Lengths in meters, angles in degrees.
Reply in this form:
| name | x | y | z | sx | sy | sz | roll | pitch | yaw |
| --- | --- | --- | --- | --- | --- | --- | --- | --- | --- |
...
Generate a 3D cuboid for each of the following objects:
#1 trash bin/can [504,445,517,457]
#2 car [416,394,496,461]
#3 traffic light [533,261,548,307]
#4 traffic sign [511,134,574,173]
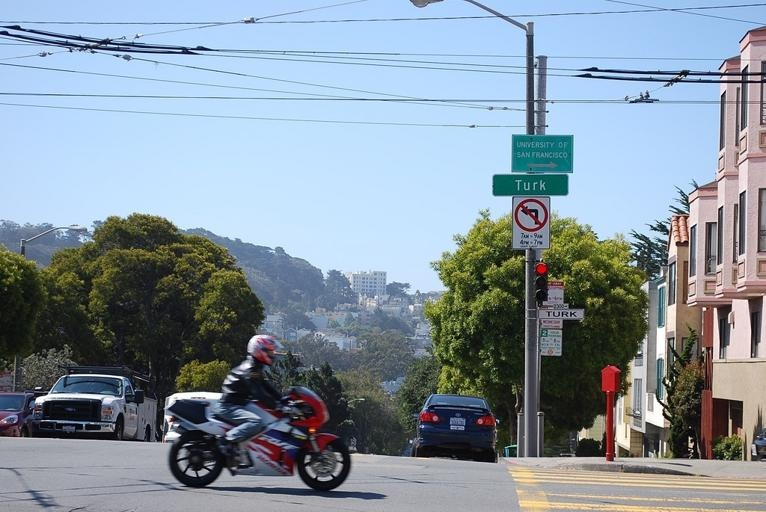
| name | x | y | z | sx | sy | sz | roll | pitch | yaw |
| --- | --- | --- | --- | --- | --- | --- | --- | --- | --- |
| trash bin/can | 5.640 | 8.752 | 71.515 | 0.527 | 0.530 | 0.941 | 3 | -2 | -7 |
| car | 2.645 | 6.221 | 58.247 | 2.112 | 1.848 | 4.966 | 0 | -3 | 4 |
| traffic light | 5.668 | 0.927 | 57.754 | 0.448 | 1.369 | 0.476 | 0 | -14 | 11 |
| traffic sign | 5.732 | -3.734 | 58.083 | 2.169 | 1.370 | 0.544 | 3 | -13 | 1 |
